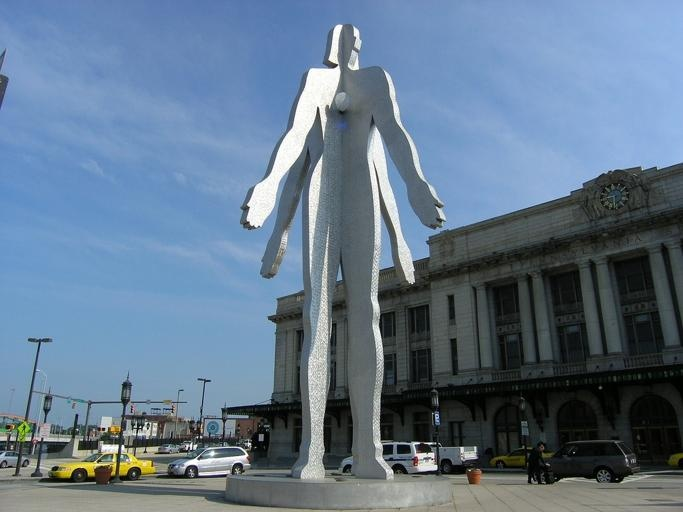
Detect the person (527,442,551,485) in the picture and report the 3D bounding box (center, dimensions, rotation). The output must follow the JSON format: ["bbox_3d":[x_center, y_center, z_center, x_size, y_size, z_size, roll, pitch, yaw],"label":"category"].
[{"bbox_3d":[8.750,9.438,21.166,0.959,1.639,0.744,11,-24,-25],"label":"person"}]

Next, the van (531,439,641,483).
[{"bbox_3d":[11.777,9.816,23.077,4.421,1.862,2.476,-15,-34,33],"label":"van"}]

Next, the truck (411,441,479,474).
[{"bbox_3d":[6.623,13.508,31.538,4.344,2.121,2.387,-14,-36,23],"label":"truck"}]
